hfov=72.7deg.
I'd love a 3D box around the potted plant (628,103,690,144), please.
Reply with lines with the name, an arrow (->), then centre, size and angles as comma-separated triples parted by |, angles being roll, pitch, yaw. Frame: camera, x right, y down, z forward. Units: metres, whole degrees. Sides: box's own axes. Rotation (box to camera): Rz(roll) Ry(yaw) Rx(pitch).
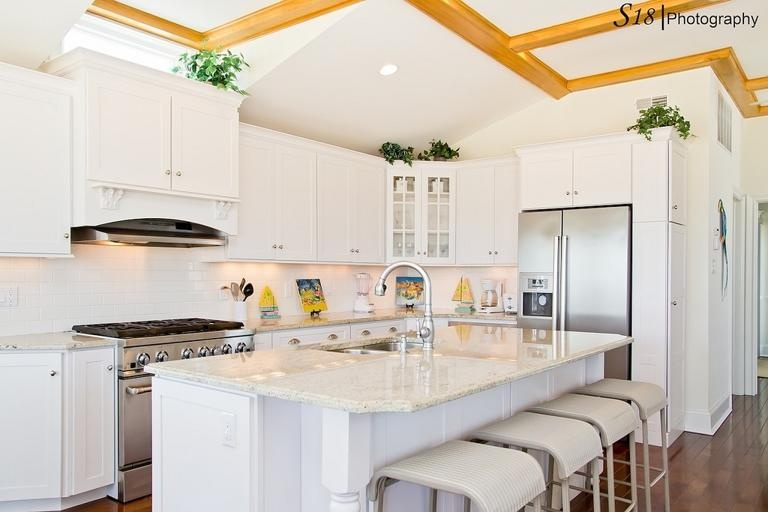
potted plant -> 2.736, -1.254, 5.182 | 0.504, 0.193, 0.457 | 1, 37, 15

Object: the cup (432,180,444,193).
cup -> 0.665, -0.856, 6.466 | 0.177, 0.143, 0.087 | 1, -5, -18

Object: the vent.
vent -> -1.962, -0.189, 4.477 | 0.488, 0.240, 1.159 | 2, 3, 39

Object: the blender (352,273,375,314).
blender -> -0.235, 0.442, 6.321 | 0.240, 0.464, 0.397 | 0, 3, -2

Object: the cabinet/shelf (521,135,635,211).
cabinet/shelf -> 2.094, -0.819, 5.634 | 1.170, 0.627, 0.384 | 0, -2, 33

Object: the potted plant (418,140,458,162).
potted plant -> 0.715, -1.286, 6.554 | 0.394, 0.147, 0.350 | -1, 0, -36

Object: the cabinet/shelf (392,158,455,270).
cabinet/shelf -> 0.463, -0.522, 6.410 | 0.854, 1.262, 0.231 | 0, 3, -2
